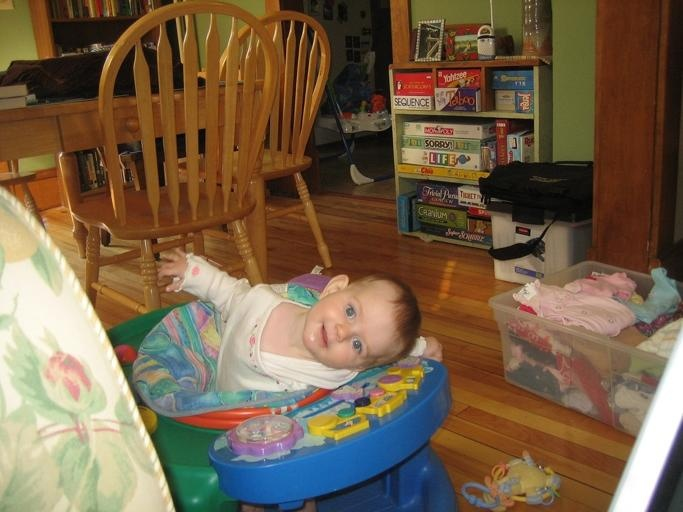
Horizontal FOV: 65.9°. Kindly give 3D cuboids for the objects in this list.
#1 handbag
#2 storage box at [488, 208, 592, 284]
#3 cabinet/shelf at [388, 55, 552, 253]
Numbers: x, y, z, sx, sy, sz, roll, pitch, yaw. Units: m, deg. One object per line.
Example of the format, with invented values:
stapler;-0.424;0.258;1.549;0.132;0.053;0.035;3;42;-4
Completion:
handbag;0.795;-0.290;2.191;0.440;0.145;0.397;5;21;22
storage box;0.866;-0.077;2.266;0.348;0.340;0.279;10;20;41
cabinet/shelf;0.623;-0.498;2.480;0.861;0.997;0.297;9;20;39
